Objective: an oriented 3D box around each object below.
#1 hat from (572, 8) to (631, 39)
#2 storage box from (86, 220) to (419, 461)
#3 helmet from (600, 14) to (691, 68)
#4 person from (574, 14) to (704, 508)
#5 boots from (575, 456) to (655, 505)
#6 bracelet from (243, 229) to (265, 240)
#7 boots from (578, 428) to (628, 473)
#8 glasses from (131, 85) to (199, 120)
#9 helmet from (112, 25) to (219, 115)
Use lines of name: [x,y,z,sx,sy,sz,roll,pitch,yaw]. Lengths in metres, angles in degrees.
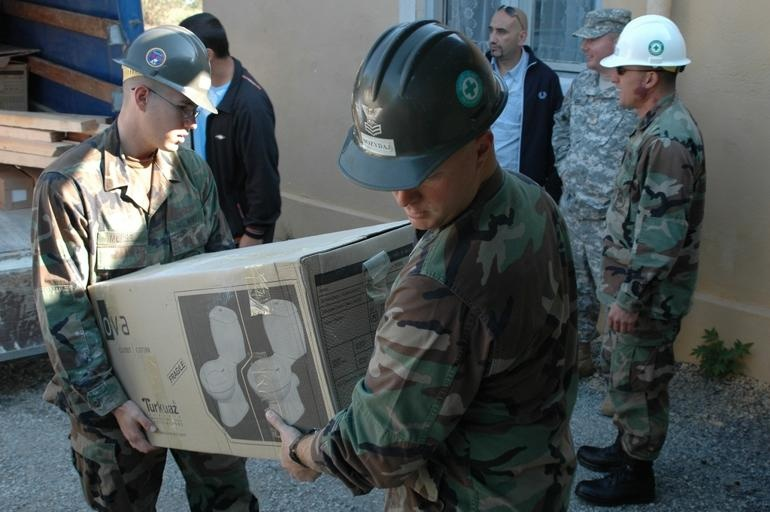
hat: [1.440,-1.536,4.332,0.293,0.110,0.216,-21,33,1]
storage box: [-0.554,0.329,2.935,1.353,0.751,0.751,-7,9,37]
helmet: [1.414,-1.143,3.587,0.387,0.227,0.312,5,24,6]
person: [1.372,0.035,3.529,0.558,2.420,0.925,4,18,22]
boots: [1.223,1.176,3.659,0.450,0.325,0.194,2,7,10]
bracelet: [-0.851,-0.155,4.304,0.100,0.047,0.077,7,29,-16]
boots: [1.232,1.124,3.887,0.336,0.254,0.141,9,1,15]
glasses: [-0.941,-0.672,2.823,0.198,0.056,0.154,26,11,17]
helmet: [-0.954,-0.871,2.917,0.459,0.289,0.358,17,18,7]
